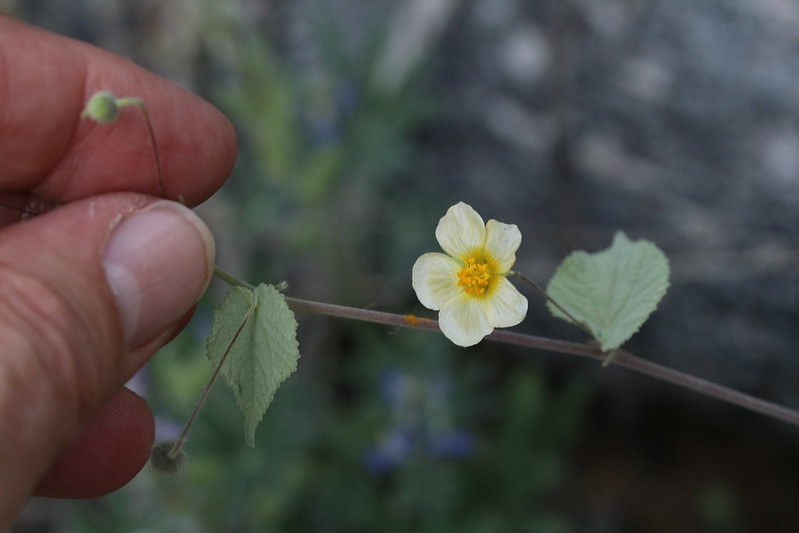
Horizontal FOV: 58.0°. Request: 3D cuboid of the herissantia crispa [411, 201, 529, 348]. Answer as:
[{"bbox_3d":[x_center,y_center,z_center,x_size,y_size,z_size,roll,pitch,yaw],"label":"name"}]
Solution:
[{"bbox_3d":[0.234,0.036,2.405,0.424,0.144,0.438,2,-86,31],"label":"herissantia crispa"}]
